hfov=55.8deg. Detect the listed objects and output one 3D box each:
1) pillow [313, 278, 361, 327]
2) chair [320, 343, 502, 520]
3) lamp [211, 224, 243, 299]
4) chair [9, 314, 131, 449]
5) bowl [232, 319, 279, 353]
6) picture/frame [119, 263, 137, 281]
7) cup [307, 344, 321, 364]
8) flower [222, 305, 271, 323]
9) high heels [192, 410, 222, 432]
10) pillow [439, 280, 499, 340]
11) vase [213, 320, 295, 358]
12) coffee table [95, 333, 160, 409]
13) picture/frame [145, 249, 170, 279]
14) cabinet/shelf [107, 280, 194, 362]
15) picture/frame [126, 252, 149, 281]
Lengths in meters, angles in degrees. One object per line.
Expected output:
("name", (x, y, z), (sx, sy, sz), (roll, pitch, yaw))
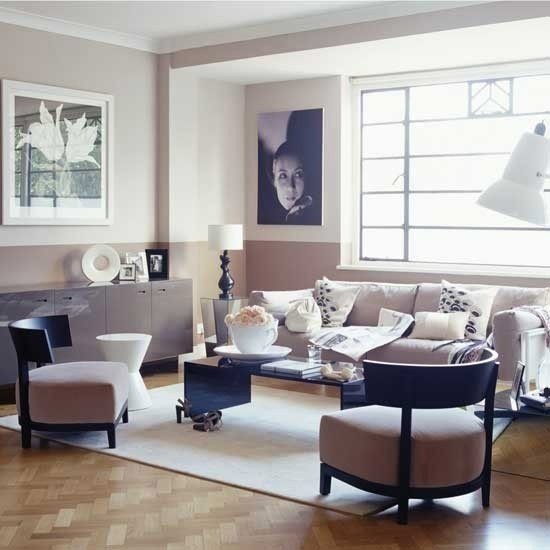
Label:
("pillow", (0.587, 0.279, 4.907), (0.209, 0.333, 0.374), (-17, 16, -37))
("chair", (0.601, 0.532, 2.333), (0.691, 0.694, 0.714), (4, -4, -36))
("lamp", (-0.546, -0.172, 5.802), (0.364, 0.859, 0.786), (0, 0, -5))
("chair", (-1.208, 0.666, 3.390), (0.741, 0.793, 0.809), (0, 3, -2))
("bowl", (-0.155, 0.450, 3.569), (0.353, 0.210, 0.297), (-6, -15, 17))
("picture/frame", (-1.428, -0.005, 5.108), (0.201, 0.204, 0.143), (0, -5, 5))
("cup", (0.282, 0.553, 3.677), (0.113, 0.147, 0.122), (0, 3, 0))
("flower", (-0.181, 0.272, 3.522), (0.286, 0.126, 0.184), (-1, -1, 41))
("high heels", (-0.439, 0.974, 3.458), (0.138, 0.078, 0.110), (-3, 7, -23))
("pillow", (1.578, 0.302, 4.235), (0.369, 0.437, 0.169), (7, -17, 34))
("vase", (-0.194, 0.455, 3.620), (0.524, 0.232, 0.526), (3, -3, -8))
("coffee table", (-1.051, 0.723, 4.019), (0.519, 0.660, 0.501), (-1, -2, 1))
("picture/frame", (-1.209, -0.115, 5.314), (0.292, 0.399, 0.030), (0, 1, 17))
("cabinet/shelf", (-1.171, 0.401, 4.787), (0.283, 0.610, 0.829), (0, 0, 32))
("picture/frame", (-1.388, -0.079, 5.242), (0.133, 0.384, 0.282), (-1, 1, 42))
